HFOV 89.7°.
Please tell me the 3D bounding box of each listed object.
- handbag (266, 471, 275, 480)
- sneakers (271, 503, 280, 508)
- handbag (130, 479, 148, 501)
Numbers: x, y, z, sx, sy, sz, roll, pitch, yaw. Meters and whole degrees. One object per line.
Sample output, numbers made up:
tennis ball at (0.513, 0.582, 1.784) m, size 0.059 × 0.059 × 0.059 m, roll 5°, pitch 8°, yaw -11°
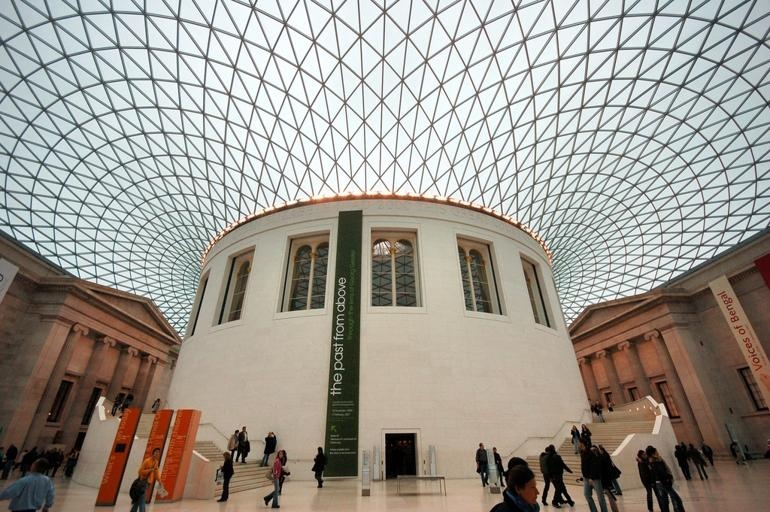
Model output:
handbag at (-5.249, 9.990, 17.577) m, size 0.434 × 0.388 × 0.544 m, roll 4°, pitch -13°, yaw -20°
sneakers at (-4.918, 11.165, 17.256) m, size 0.305 × 0.140 × 0.249 m, roll 8°, pitch -31°, yaw -13°
handbag at (-9.928, 9.438, 15.536) m, size 0.666 × 0.864 × 0.337 m, roll 5°, pitch -4°, yaw 16°
